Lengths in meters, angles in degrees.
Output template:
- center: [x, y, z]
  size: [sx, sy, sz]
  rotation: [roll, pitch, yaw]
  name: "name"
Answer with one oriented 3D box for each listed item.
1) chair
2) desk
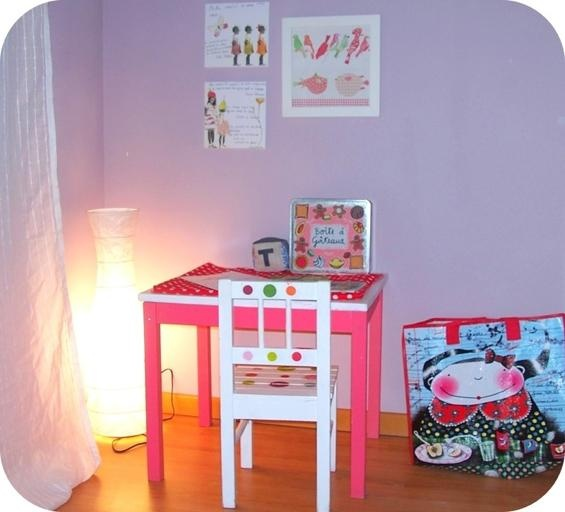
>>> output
- center: [-0.027, 0.492, 2.161]
  size: [0.458, 0.870, 0.428]
  rotation: [0, 7, 5]
  name: "chair"
- center: [-0.065, 0.512, 2.501]
  size: [0.865, 0.851, 0.734]
  rotation: [2, 6, 7]
  name: "desk"
